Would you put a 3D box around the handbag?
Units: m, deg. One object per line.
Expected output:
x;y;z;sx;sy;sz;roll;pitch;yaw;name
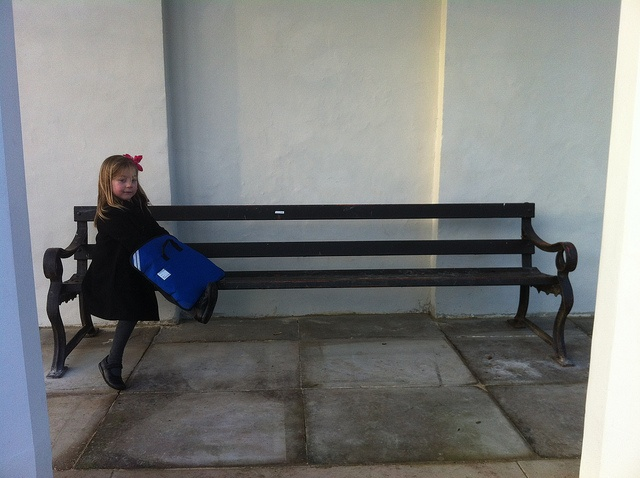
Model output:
-0.963;0.208;3.998;0.507;0.200;0.498;39;29;-2;handbag

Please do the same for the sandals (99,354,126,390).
-1.396;0.914;3.952;0.276;0.120;0.115;48;14;27;sandals
